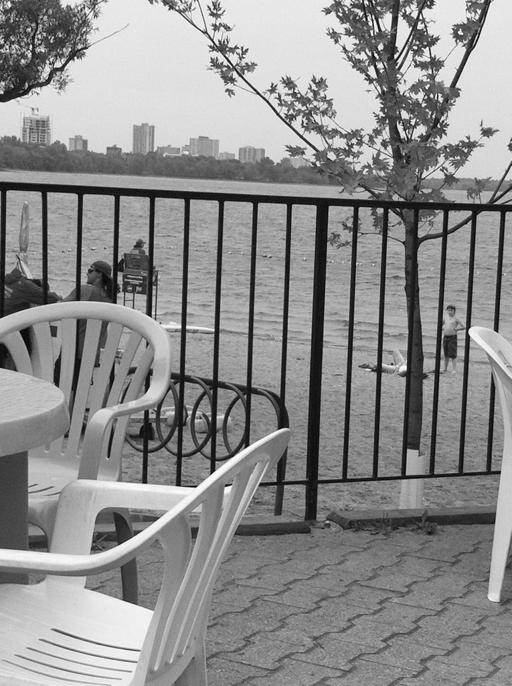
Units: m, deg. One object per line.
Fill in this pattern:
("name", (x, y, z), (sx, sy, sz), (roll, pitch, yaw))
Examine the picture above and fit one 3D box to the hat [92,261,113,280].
("hat", (-1.157, -0.592, 8.084), (0.157, 0.129, 0.146), (29, 10, -4))
